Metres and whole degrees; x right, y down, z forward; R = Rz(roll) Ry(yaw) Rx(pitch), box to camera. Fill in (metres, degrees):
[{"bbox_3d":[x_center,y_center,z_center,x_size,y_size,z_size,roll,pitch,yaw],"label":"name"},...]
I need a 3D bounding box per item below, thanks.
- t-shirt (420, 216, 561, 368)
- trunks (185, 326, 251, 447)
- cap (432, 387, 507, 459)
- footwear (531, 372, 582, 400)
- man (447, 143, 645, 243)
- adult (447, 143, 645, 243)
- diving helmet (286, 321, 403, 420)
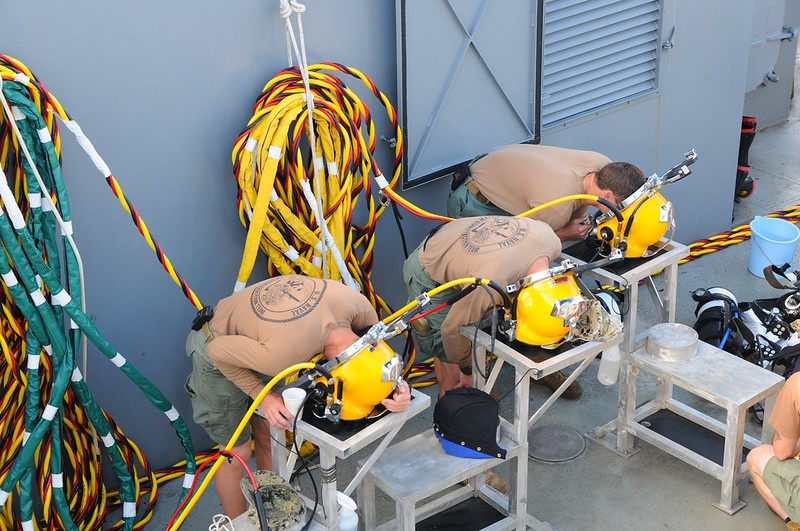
[{"bbox_3d":[0.550,-0.071,4.468,0.867,0.457,1.206,-19,25,-9],"label":"t-shirt"},{"bbox_3d":[-1.039,0.710,4.166,0.344,0.487,0.662,-9,61,-15],"label":"trunks"},{"bbox_3d":[0.393,0.882,3.911,0.413,0.251,0.303,26,44,31],"label":"cap"},{"bbox_3d":[1.185,0.877,5.227,0.332,0.125,0.159,17,40,31],"label":"footwear"},{"bbox_3d":[1.009,-0.429,4.917,1.319,0.703,0.633,1,25,22],"label":"man"},{"bbox_3d":[1.034,-0.445,4.934,1.365,0.733,0.657,5,30,29],"label":"adult"},{"bbox_3d":[-0.275,0.550,3.700,0.633,0.446,0.530,2,13,31],"label":"diving helmet"}]
